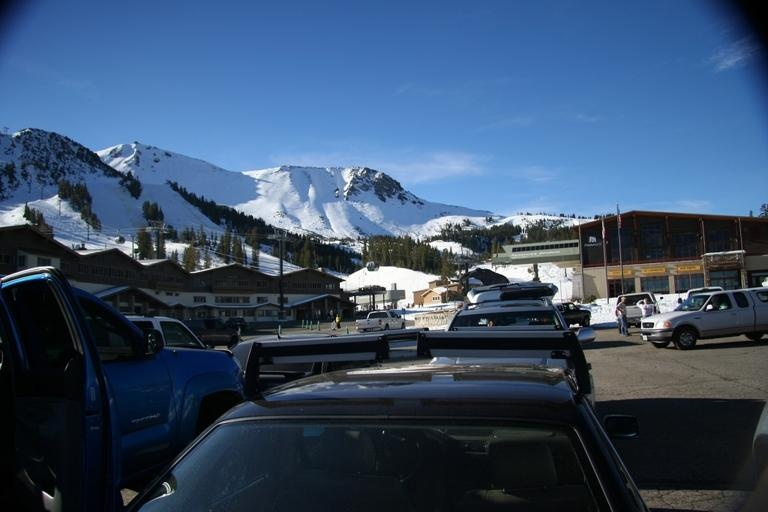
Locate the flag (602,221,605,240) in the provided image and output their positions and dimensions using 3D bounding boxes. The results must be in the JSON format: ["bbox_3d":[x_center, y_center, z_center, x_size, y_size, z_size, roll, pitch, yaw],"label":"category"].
[{"bbox_3d":[19.074,-2.279,64.780,0.361,1.625,3.247,-4,-1,16],"label":"flag"}]

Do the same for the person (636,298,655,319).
[{"bbox_3d":[10.685,2.185,30.421,0.944,0.899,0.505,-8,-7,25],"label":"person"}]
